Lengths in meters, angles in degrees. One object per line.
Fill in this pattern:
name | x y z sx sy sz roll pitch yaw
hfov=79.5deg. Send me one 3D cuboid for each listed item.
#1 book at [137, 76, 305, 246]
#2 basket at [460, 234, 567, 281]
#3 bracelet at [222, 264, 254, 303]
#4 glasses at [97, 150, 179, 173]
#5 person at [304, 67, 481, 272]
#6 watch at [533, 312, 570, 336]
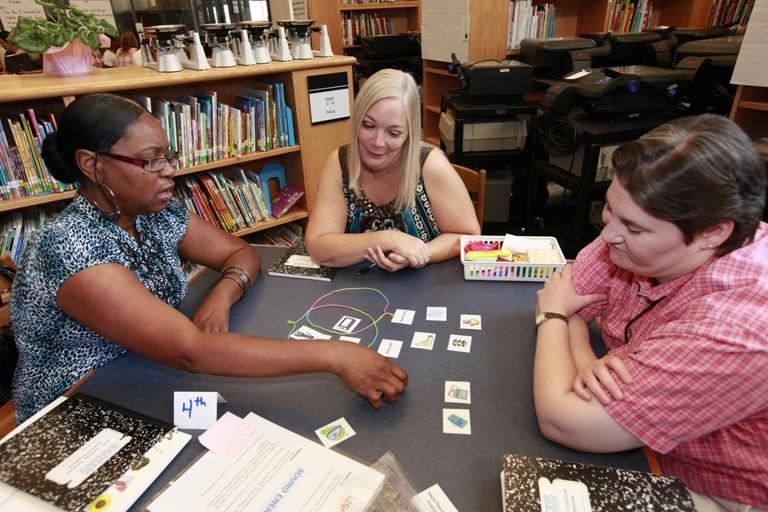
book | -0.935 -0.593 2.669 0.352 0.863 0.930 19 31 38
basket | 0.496 -0.001 1.820 0.315 0.092 0.214 2 19 4
bracelet | -0.554 0.105 1.799 0.121 0.119 0.090 -5 27 28
glasses | -0.817 -0.326 1.564 0.118 0.034 0.113 17 20 -4
person | 0.039 -0.367 2.165 0.853 0.859 0.647 -3 29 -2
watch | 0.533 0.223 1.503 0.074 0.040 0.074 15 -17 -17
